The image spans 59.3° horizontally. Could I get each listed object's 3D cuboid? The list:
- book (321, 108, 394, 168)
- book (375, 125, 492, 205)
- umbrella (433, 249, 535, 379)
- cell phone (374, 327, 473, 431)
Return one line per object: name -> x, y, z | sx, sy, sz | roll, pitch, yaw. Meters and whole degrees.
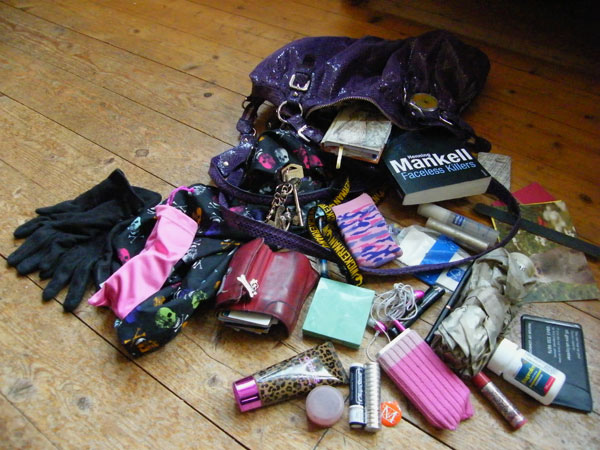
book -> 0.194, -0.304, 1.748 | 0.218, 0.047, 0.202 | 14, 53, 20
book -> 0.428, -0.192, 1.757 | 0.358, 0.060, 0.230 | -7, 45, -14
umbrella -> 0.509, 0.237, 1.491 | 0.171, 0.171, 0.378 | 34, 56, 12
cell phone -> 0.340, 0.418, 1.437 | 0.159, 0.071, 0.277 | -38, 66, -20
